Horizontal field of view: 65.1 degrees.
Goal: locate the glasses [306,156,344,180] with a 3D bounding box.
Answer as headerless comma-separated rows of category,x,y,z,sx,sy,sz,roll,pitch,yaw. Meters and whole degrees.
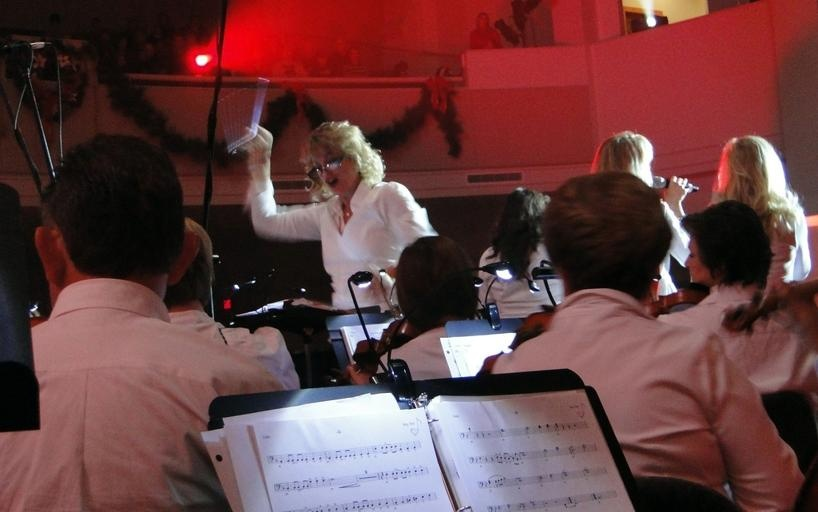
glasses,-0.501,-0.520,3.763,0.142,0.043,0.142,-25,2,42

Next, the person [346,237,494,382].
person,0.033,0.239,2.794,0.598,0.819,0.466,-2,-1,26

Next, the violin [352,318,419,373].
violin,-0.116,0.388,2.763,0.297,0.111,0.200,-26,15,8
